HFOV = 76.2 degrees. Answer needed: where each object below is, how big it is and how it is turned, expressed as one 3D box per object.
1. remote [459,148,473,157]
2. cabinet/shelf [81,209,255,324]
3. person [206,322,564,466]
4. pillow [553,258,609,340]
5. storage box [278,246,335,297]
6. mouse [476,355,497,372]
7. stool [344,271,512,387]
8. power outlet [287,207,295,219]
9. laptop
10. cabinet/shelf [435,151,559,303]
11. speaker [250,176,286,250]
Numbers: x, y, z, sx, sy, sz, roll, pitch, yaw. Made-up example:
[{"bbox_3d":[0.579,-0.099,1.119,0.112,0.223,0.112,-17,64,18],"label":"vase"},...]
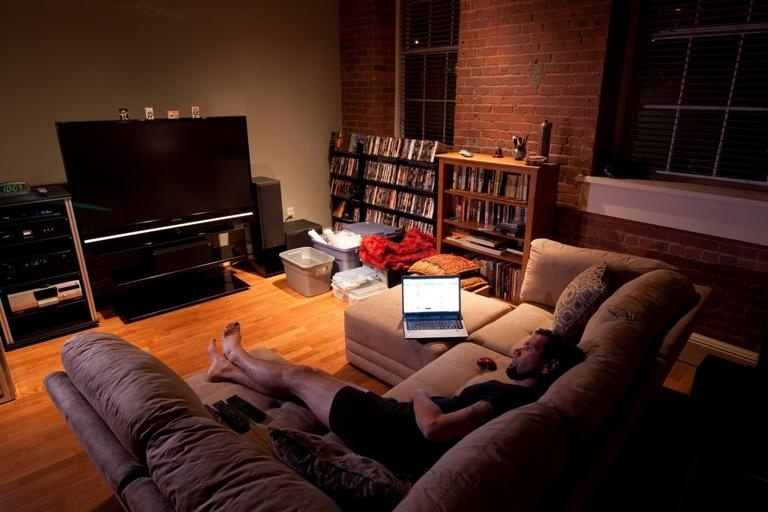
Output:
[{"bbox_3d":[0.825,-1.038,4.971,0.084,0.052,0.195,-21,22,-15],"label":"remote"},{"bbox_3d":[-2.234,0.116,4.945,0.926,0.838,0.462,-20,33,-35],"label":"cabinet/shelf"},{"bbox_3d":[-0.024,0.745,3.057,1.896,0.727,0.776,12,-2,19],"label":"person"},{"bbox_3d":[1.344,0.309,3.362,0.146,0.461,0.469,30,16,-7],"label":"pillow"},{"bbox_3d":[-0.835,0.114,5.394,0.455,0.374,0.617,-19,26,-41],"label":"storage box"},{"bbox_3d":[0.691,0.717,3.301,0.110,0.043,0.078,-9,10,-4],"label":"mouse"},{"bbox_3d":[0.342,0.553,3.931,0.886,0.472,0.948,-19,27,-35],"label":"stool"},{"bbox_3d":[-1.185,-0.550,6.225,0.036,0.149,0.116,27,34,34],"label":"power outlet"},{"bbox_3d":[0.372,0.381,3.750,0.569,0.367,0.432,-1,14,-1],"label":"laptop"},{"bbox_3d":[1.100,-0.279,4.608,0.409,1.442,1.242,-13,23,-37],"label":"cabinet/shelf"},{"bbox_3d":[-1.297,-0.445,5.504,0.342,0.775,0.247,-7,21,-17],"label":"speaker"}]
